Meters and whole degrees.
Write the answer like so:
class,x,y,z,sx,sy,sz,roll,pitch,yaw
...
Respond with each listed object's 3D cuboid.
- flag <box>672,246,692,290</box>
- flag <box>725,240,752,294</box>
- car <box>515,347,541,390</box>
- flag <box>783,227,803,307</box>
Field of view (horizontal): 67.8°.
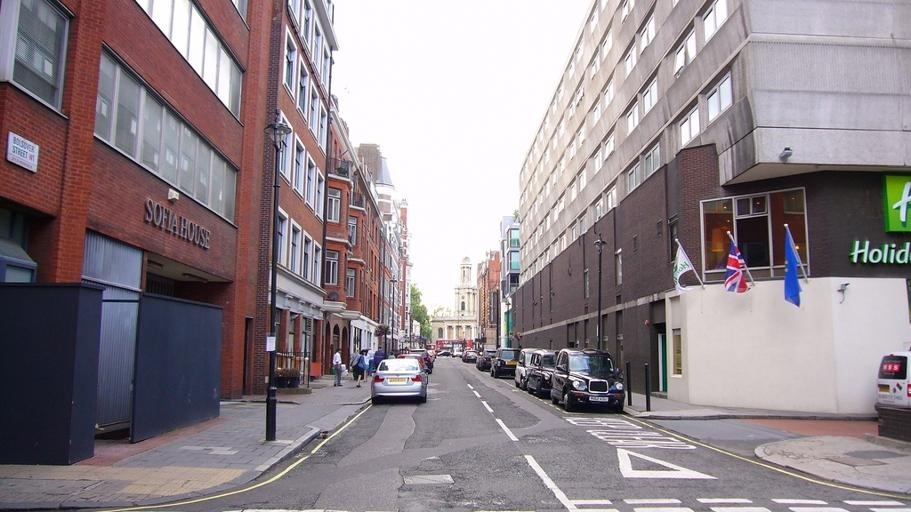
class,x,y,z,sx,sy,sz,roll,pitch,yaw
flag,10.637,0.636,31.684,0.700,0.606,2.048,-21,-43,10
flag,12.550,0.412,30.486,0.875,2.468,1.553,-13,-16,38
car,4.315,6.334,39.126,1.358,1.396,2.424,2,-14,-8
flag,14.577,0.353,29.519,0.752,3.638,0.898,-10,-14,31
